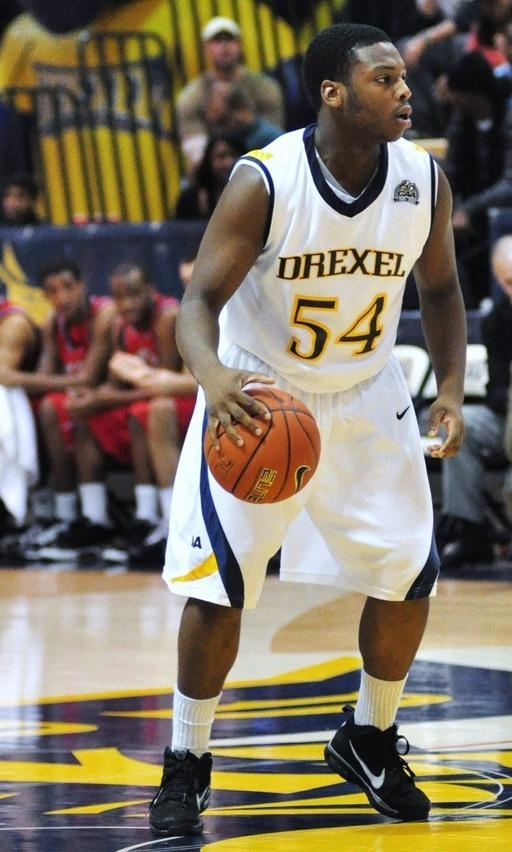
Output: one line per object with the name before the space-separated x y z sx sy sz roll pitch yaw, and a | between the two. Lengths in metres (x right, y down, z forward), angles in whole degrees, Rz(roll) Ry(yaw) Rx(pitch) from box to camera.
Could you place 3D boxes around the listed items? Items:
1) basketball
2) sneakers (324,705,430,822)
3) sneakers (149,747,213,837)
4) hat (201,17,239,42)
basketball | 0.011 0.042 1.494 0.186 0.192 0.161 -18 29 -22
sneakers | 0.243 0.637 1.767 0.092 0.127 0.263 14 11 -44
sneakers | -0.125 0.628 1.602 0.059 0.069 0.169 1 -3 7
hat | -0.222 -2.474 5.817 0.194 0.090 0.265 -5 13 2
